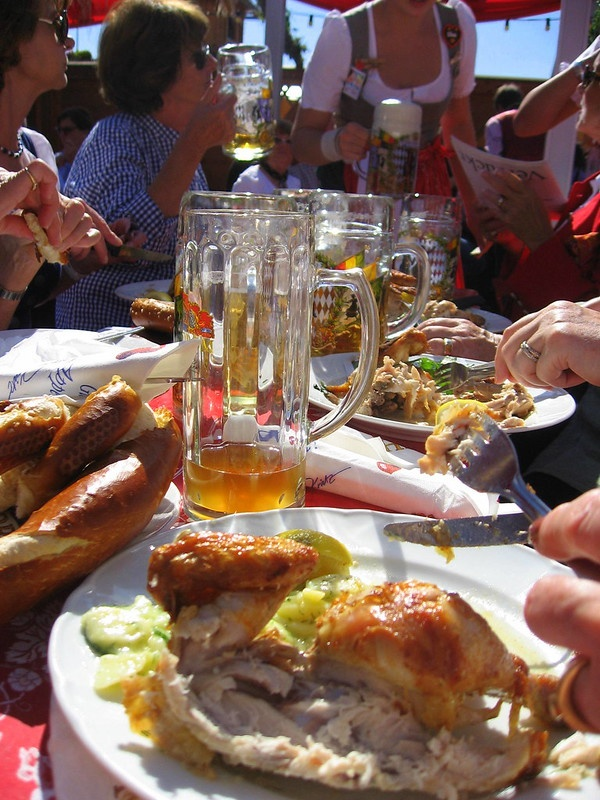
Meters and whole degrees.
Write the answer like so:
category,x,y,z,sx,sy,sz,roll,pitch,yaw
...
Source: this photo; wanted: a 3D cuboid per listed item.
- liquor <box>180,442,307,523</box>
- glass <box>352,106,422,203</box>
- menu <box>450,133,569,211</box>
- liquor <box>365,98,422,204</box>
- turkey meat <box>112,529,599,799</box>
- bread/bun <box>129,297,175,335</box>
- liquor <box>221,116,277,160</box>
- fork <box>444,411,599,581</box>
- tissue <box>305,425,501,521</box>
category,x,y,z,sx,sy,sz,roll,pitch,yaw
liquor,-0.075,0.105,0.833,0.141,0.081,0.086,-1,0,-9
glass,0.330,-0.875,2.309,0.178,0.306,0.318,7,13,5
menu,0.777,-0.828,2.508,0.408,0.039,0.461,26,-3,27
liquor,0.338,-0.900,2.332,0.267,0.309,0.259,13,28,21
turkey meat,0.029,0.223,0.540,0.269,0.098,0.192,7,4,-5
bread/bun,-0.346,-0.202,1.620,0.081,0.065,0.178,-13,24,-42
liquor,-0.178,-0.896,2.244,0.165,0.114,0.122,-8,22,-23
fork,0.199,0.086,0.608,0.026,0.049,0.180,34,17,-34
tissue,0.147,0.095,0.960,0.206,0.042,0.112,17,18,33
